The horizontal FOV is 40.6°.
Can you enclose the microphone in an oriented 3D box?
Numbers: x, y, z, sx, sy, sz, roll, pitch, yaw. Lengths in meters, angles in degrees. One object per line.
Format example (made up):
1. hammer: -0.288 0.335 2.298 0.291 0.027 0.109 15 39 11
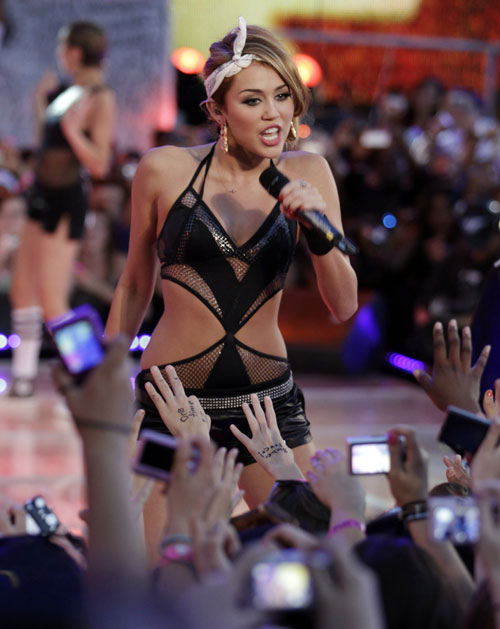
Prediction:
1. microphone: 0.120 -0.217 1.491 0.207 0.199 0.235 1 18 0
